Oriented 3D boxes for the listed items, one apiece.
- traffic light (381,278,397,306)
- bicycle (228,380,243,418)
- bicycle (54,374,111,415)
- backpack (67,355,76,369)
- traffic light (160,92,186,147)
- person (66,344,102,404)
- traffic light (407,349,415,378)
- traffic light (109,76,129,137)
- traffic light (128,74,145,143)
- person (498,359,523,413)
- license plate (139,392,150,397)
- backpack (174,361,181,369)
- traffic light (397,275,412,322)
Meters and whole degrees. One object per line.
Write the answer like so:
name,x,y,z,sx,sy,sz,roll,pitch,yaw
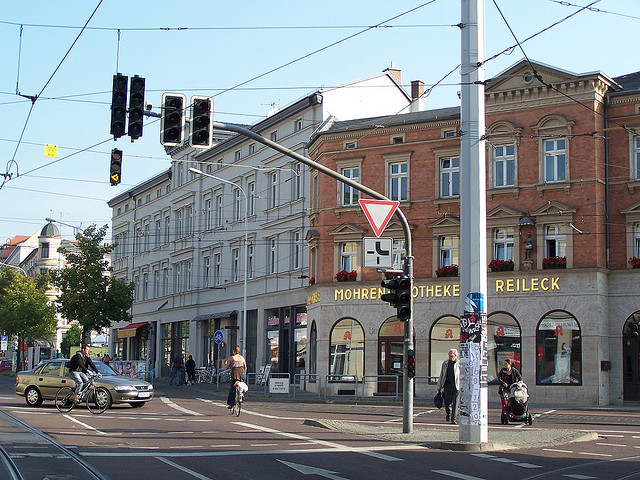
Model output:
traffic light,2.115,1.623,40.293,0.549,0.901,0.416,6,-14,-25
bicycle,-3.087,5.798,46.311,0.372,1.325,1.339,3,-13,-16
bicycle,-8.474,5.543,45.786,1.381,1.459,1.744,7,-10,-40
backpack,-8.790,4.304,45.085,0.187,0.504,0.732,5,-13,-22
traffic light,-4.443,-3.661,38.522,0.731,1.587,0.687,1,-13,-7
person,-8.432,4.742,45.404,1.079,2.187,1.493,0,-12,0
traffic light,2.840,3.902,40.423,0.211,0.886,0.231,0,-13,-4
traffic light,-6.191,-4.158,39.280,0.521,1.895,0.380,3,-13,-14
traffic light,-5.649,-4.111,39.162,0.461,2.032,0.450,1,-13,-7
person,6.650,5.134,44.990,0.737,1.915,1.083,-2,-13,8
license plate,-6.491,5.700,47.051,0.091,0.192,0.521,-7,-14,28
backpack,-7.510,6.588,67.118,0.349,0.292,0.083,-1,-2,33
traffic light,2.623,1.790,40.271,0.435,1.453,0.418,-1,-13,3
